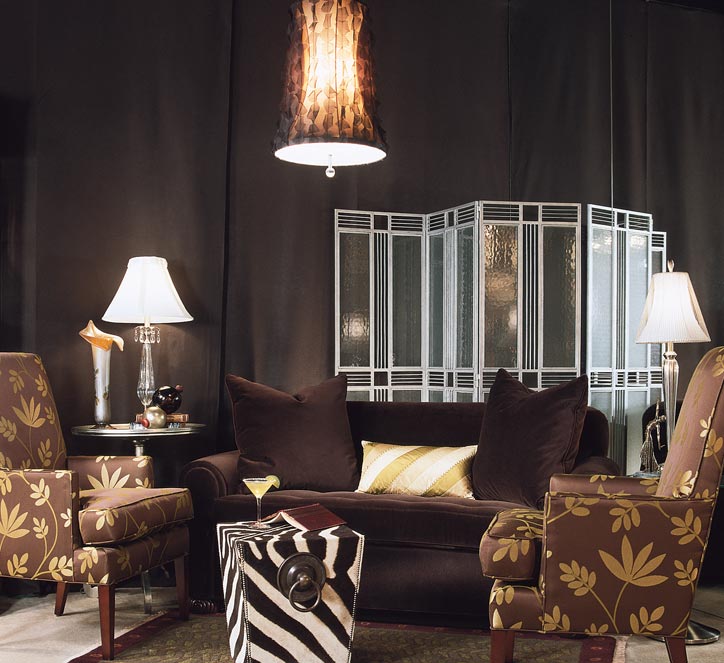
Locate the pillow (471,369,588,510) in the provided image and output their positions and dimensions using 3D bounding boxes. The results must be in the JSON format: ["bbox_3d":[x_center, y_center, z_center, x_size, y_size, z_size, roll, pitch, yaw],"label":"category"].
[{"bbox_3d":[0.760,0.510,3.609,0.231,0.460,0.421,36,-16,-33],"label":"pillow"}]

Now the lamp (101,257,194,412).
[{"bbox_3d":[-1.235,0.030,4.683,0.637,1.221,0.665,2,-2,-21],"label":"lamp"}]
